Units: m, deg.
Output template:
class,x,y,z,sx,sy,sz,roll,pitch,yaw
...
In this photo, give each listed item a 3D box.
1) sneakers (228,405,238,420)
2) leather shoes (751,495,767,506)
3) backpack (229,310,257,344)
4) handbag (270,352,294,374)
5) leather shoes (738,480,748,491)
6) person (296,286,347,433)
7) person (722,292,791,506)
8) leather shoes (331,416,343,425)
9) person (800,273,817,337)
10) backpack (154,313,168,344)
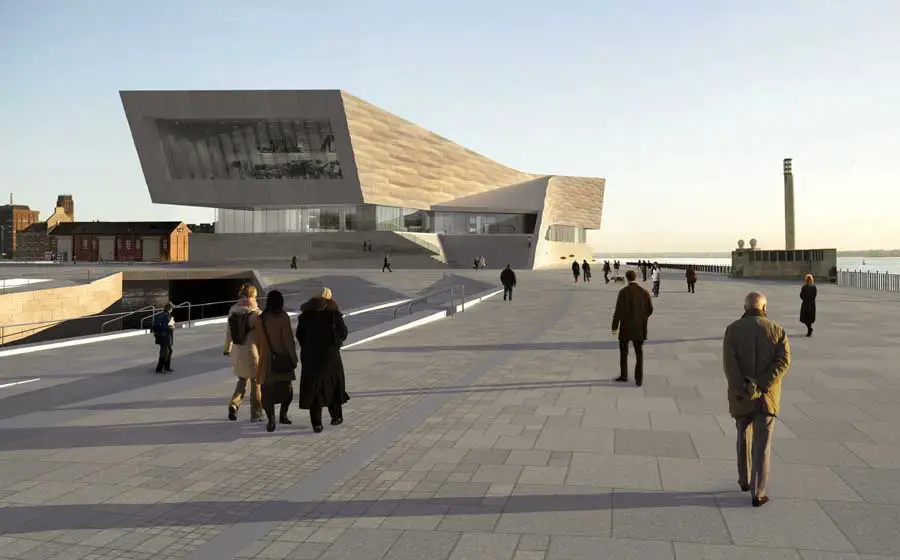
class,x,y,z,sx,sy,sz,roll,pitch,yaw
sneakers,-3.197,1.964,10.446,0.113,0.254,0.119,0,6,-2
leather shoes,3.426,2.433,7.808,0.087,0.142,0.172,-1,4,38
backpack,-3.004,0.690,10.270,0.354,0.458,0.178,-5,14,-15
handbag,-2.375,1.170,9.971,0.370,0.271,0.160,1,7,-14
leather shoes,3.351,2.349,8.055,0.117,0.118,0.134,-1,-9,-5
person,-1.802,1.153,10.067,0.730,2.016,0.775,-4,14,-9
person,3.434,1.320,8.024,0.667,2.209,1.071,3,14,19
leather shoes,-1.593,2.025,10.174,0.142,0.115,0.104,-8,-6,39
person,8.567,0.625,16.948,0.328,1.485,0.907,5,15,25
backpack,-5.587,0.958,13.806,0.307,0.564,0.445,-5,14,-13
